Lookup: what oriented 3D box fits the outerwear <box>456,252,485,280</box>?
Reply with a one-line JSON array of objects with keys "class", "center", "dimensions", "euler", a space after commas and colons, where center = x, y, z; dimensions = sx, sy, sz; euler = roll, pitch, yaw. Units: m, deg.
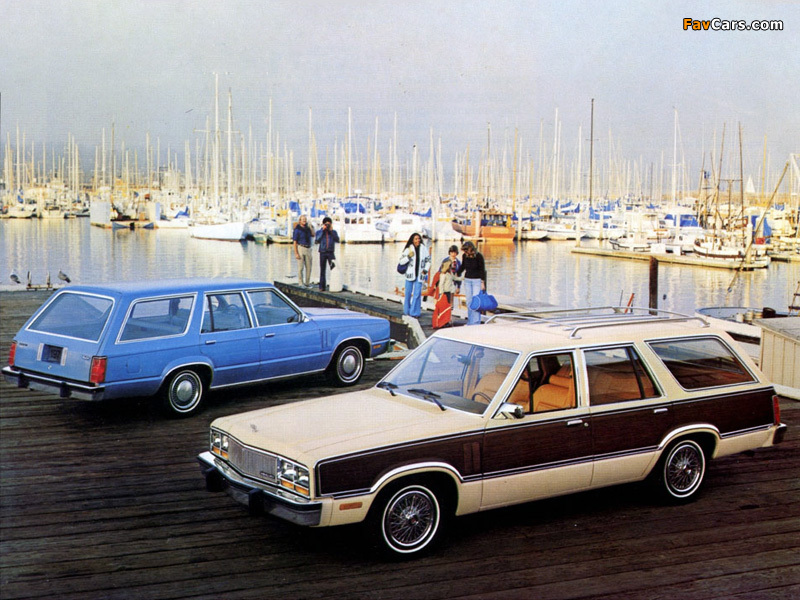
[{"class": "outerwear", "center": [1.357, -0.649, 16.813], "dimensions": [0.588, 0.530, 0.270], "euler": [5, 5, 36]}]

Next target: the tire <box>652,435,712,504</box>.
[{"class": "tire", "center": [2.654, 1.612, 8.190], "dimensions": [0.656, 0.656, 0.228], "euler": [-3, 10, -30]}]

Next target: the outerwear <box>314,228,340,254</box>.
[{"class": "outerwear", "center": [-1.843, -1.483, 21.402], "dimensions": [0.775, 0.870, 0.580], "euler": [0, -4, -2]}]

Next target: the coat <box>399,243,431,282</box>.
[{"class": "coat", "center": [0.288, -0.726, 17.416], "dimensions": [0.529, 0.785, 0.892], "euler": [4, 11, 17]}]

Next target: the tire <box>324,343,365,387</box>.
[{"class": "tire", "center": [-0.811, 0.910, 12.095], "dimensions": [0.518, 0.522, 0.181], "euler": [18, -12, -34]}]

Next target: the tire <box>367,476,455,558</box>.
[{"class": "tire", "center": [0.050, 1.767, 7.020], "dimensions": [0.672, 0.674, 0.199], "euler": [4, 7, -29]}]

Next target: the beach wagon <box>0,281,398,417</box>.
[{"class": "beach wagon", "center": [-2.448, 0.517, 11.251], "dimensions": [4.271, 1.303, 1.859], "euler": [-8, 10, -44]}]

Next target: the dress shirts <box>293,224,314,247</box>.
[{"class": "dress shirts", "center": [-2.445, -1.605, 21.552], "dimensions": [0.271, 0.497, 0.578], "euler": [4, 11, 32]}]

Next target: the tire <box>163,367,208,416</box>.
[{"class": "tire", "center": [-2.649, 1.112, 10.469], "dimensions": [0.165, 0.471, 0.468], "euler": [10, -16, 42]}]
